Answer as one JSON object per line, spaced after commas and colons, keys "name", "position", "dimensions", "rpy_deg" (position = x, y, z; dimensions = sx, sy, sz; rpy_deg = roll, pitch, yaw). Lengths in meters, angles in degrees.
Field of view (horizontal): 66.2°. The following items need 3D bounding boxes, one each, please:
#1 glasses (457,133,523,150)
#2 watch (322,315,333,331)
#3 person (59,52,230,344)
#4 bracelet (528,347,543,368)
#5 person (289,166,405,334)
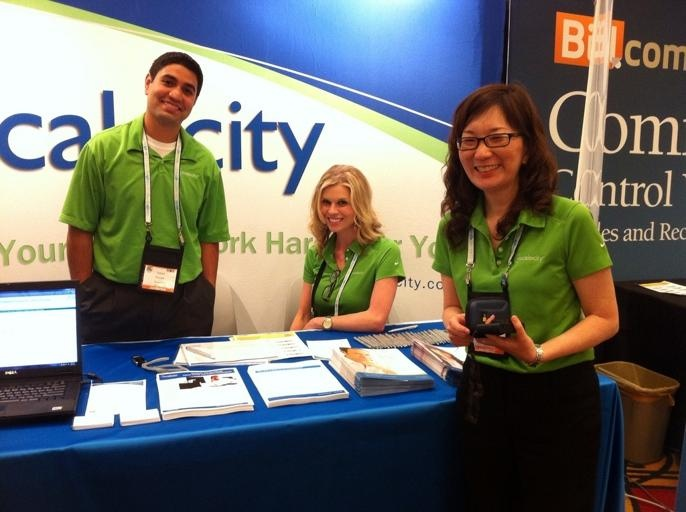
{"name": "glasses", "position": [0.511, -0.410, 1.853], "dimensions": [0.206, 0.067, 0.049], "rpy_deg": [3, 7, 16]}
{"name": "watch", "position": [-0.078, 0.357, 2.801], "dimensions": [0.038, 0.071, 0.063], "rpy_deg": [3, -32, 0]}
{"name": "person", "position": [-1.024, -0.318, 2.817], "dimensions": [0.857, 1.590, 0.428], "rpy_deg": [-3, 7, -31]}
{"name": "bracelet", "position": [0.646, 0.336, 1.750], "dimensions": [0.039, 0.067, 0.057], "rpy_deg": [7, -12, 12]}
{"name": "person", "position": [0.030, -0.036, 3.072], "dimensions": [0.507, 1.007, 0.656], "rpy_deg": [-5, 8, -38]}
